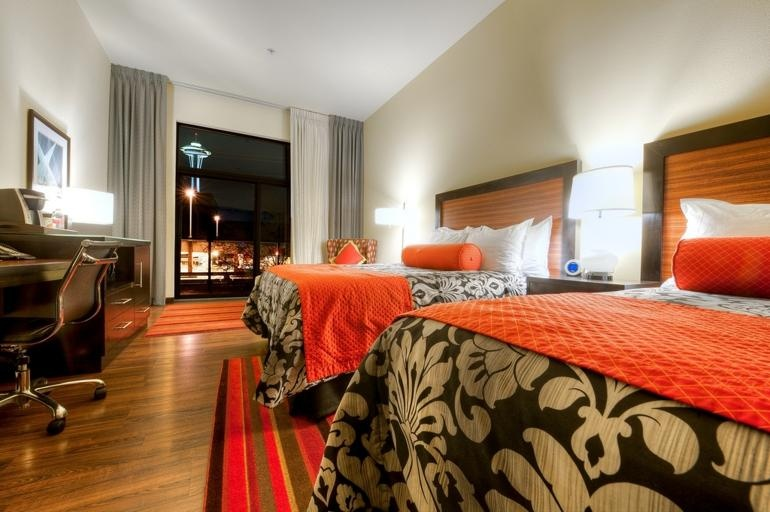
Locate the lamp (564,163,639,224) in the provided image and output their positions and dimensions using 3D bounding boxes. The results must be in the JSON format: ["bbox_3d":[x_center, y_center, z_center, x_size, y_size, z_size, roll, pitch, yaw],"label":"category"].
[{"bbox_3d":[1.662,-0.439,3.368,0.385,0.318,0.400,1,-3,8],"label":"lamp"}]

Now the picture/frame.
[{"bbox_3d":[-2.971,-0.741,3.978,0.253,0.969,0.854,0,3,-26],"label":"picture/frame"}]

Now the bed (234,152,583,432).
[{"bbox_3d":[0.098,0.365,3.820,2.037,1.465,2.283,5,-7,-21],"label":"bed"}]

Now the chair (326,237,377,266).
[{"bbox_3d":[-0.472,-0.089,6.348,0.425,0.549,0.452,2,5,22],"label":"chair"}]
